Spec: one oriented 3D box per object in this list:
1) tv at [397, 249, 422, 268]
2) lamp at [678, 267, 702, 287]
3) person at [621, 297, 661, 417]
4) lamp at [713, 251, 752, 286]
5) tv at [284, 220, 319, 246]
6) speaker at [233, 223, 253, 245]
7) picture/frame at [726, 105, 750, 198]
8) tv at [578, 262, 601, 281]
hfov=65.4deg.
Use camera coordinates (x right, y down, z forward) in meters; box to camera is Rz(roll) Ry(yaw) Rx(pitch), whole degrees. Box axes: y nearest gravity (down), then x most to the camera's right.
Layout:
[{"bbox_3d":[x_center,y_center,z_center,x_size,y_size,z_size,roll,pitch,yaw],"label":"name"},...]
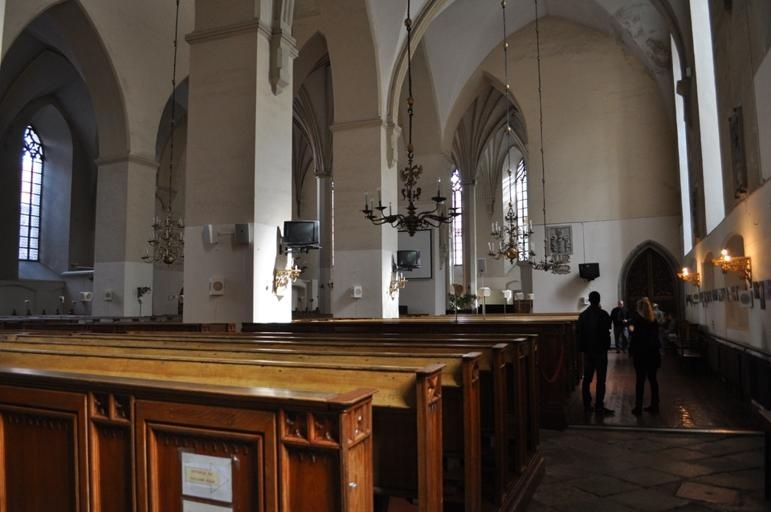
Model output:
[{"bbox_3d":[0.550,0.101,14.319,0.566,0.593,0.367,0,-3,2],"label":"tv"},{"bbox_3d":[7.550,0.515,14.921,0.513,0.687,0.435,3,-9,-43],"label":"lamp"},{"bbox_3d":[4.247,1.594,9.856,0.459,1.800,1.332,-4,-5,22],"label":"person"},{"bbox_3d":[5.641,0.140,9.722,0.521,0.710,0.567,-5,12,37],"label":"lamp"},{"bbox_3d":[-1.473,-0.387,10.433,0.666,0.525,0.387,-1,-4,16],"label":"tv"},{"bbox_3d":[-2.372,-0.376,10.107,0.314,0.338,0.173,1,4,7],"label":"speaker"},{"bbox_3d":[5.734,-1.730,9.784,0.105,1.594,0.843,-5,-4,19],"label":"picture/frame"},{"bbox_3d":[6.133,0.509,18.165,0.758,0.754,0.431,-3,-7,26],"label":"tv"}]
